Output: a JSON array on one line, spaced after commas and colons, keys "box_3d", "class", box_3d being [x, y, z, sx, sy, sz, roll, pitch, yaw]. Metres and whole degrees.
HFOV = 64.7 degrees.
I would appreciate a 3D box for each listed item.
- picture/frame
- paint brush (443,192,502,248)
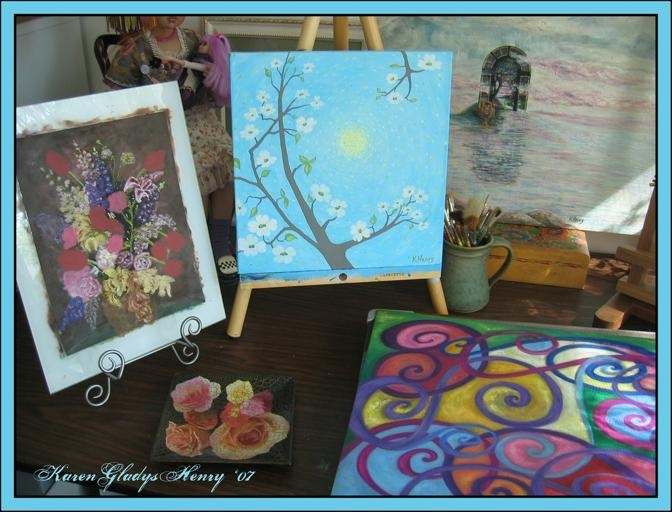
[{"box_3d": [-0.416, -0.041, 0.987, 0.409, 0.473, 0.218, -20, 39, -25], "class": "picture/frame"}, {"box_3d": [0.319, -0.095, 1.257, 0.150, 0.133, 0.063, 1, 10, 12], "class": "paint brush"}]
